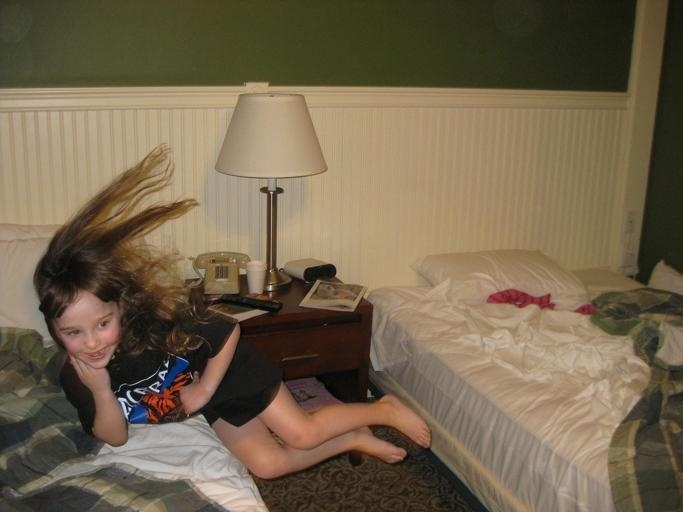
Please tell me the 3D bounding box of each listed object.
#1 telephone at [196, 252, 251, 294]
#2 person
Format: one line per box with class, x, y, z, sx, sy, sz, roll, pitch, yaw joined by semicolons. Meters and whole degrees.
telephone;-0.561;0.061;2.493;0.228;0.111;0.206;-1;14;-8
person;-0.339;0.224;2.281;1.619;1.095;0.771;15;15;-25
